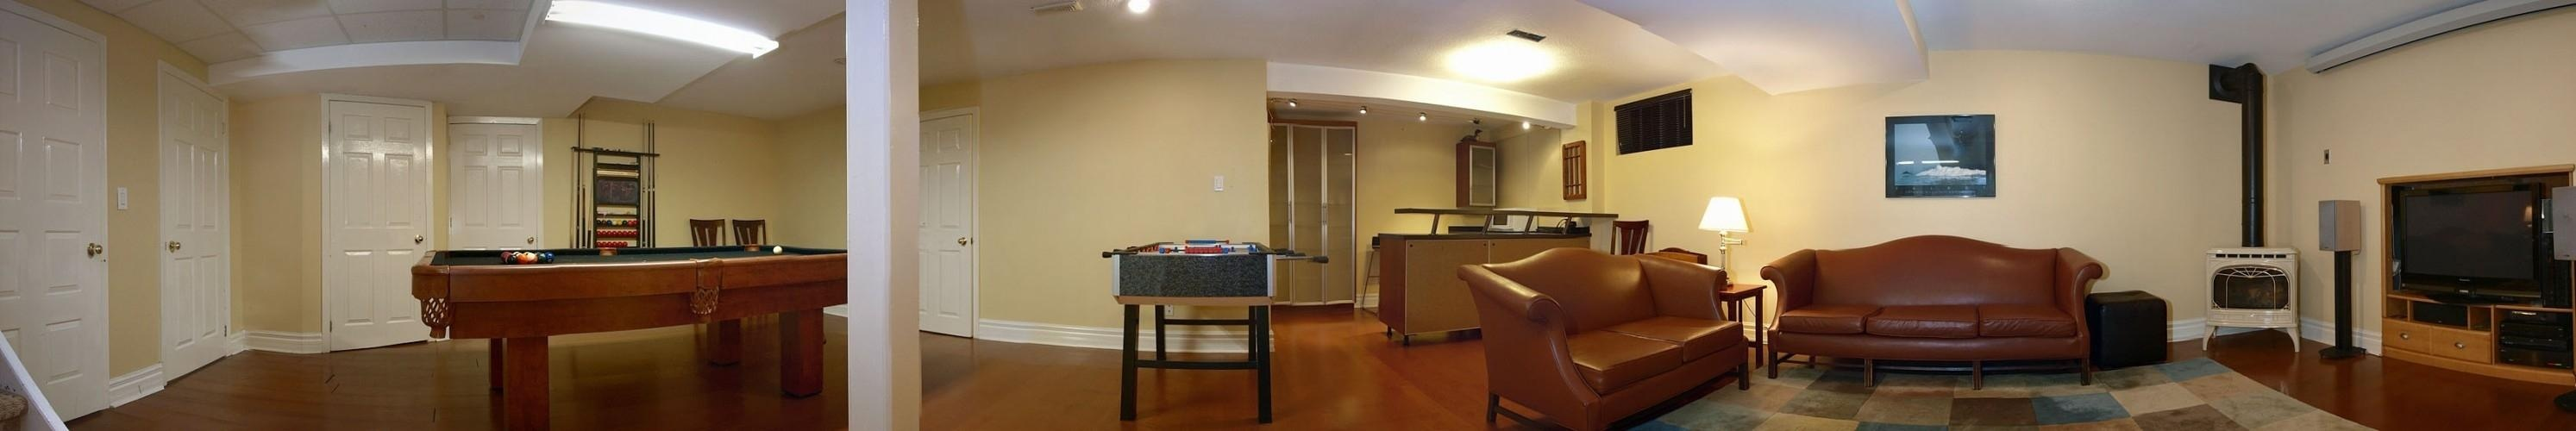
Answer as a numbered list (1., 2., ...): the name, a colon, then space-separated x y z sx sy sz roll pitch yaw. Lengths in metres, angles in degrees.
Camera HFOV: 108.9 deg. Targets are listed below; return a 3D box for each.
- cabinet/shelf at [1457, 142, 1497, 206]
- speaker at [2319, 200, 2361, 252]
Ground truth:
1. cabinet/shelf: 7.343 -1.548 35.301 1.485 2.420 0.301 -1 -2 -13
2. speaker: 36.988 0.349 32.361 1.495 1.685 0.290 -1 -2 -3
